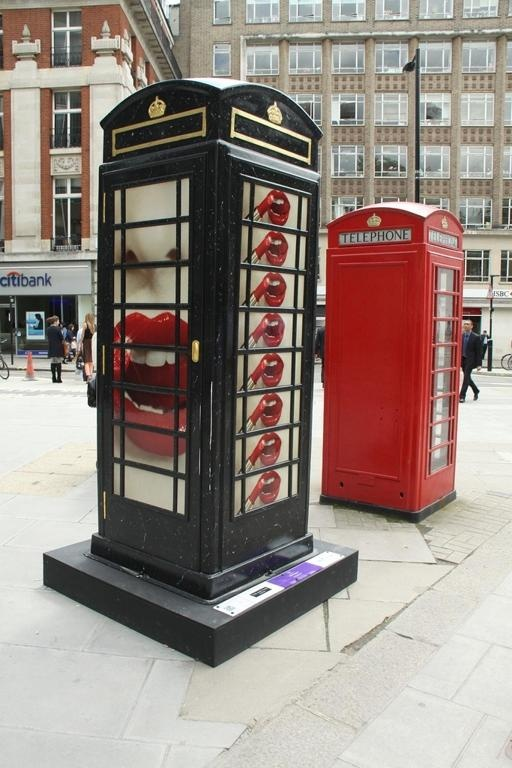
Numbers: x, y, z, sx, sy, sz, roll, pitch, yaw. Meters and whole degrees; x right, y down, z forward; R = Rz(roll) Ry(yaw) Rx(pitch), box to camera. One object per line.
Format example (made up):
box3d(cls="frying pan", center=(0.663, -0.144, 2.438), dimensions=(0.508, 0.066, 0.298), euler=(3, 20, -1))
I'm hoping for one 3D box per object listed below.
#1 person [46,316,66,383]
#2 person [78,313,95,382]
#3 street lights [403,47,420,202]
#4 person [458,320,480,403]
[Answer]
box3d(cls="person", center=(-4.508, -0.750, 17.635), dimensions=(0.337, 1.456, 1.556), euler=(0, 7, -14))
box3d(cls="person", center=(-3.388, -0.730, 15.492), dimensions=(0.413, 1.314, 0.337), euler=(5, 4, 20))
box3d(cls="street lights", center=(3.609, -6.104, 18.058), dimensions=(0.204, 2.922, 0.576), euler=(-2, 2, -38))
box3d(cls="person", center=(4.187, -0.420, 15.345), dimensions=(0.393, 1.581, 2.679), euler=(3, 7, 15))
